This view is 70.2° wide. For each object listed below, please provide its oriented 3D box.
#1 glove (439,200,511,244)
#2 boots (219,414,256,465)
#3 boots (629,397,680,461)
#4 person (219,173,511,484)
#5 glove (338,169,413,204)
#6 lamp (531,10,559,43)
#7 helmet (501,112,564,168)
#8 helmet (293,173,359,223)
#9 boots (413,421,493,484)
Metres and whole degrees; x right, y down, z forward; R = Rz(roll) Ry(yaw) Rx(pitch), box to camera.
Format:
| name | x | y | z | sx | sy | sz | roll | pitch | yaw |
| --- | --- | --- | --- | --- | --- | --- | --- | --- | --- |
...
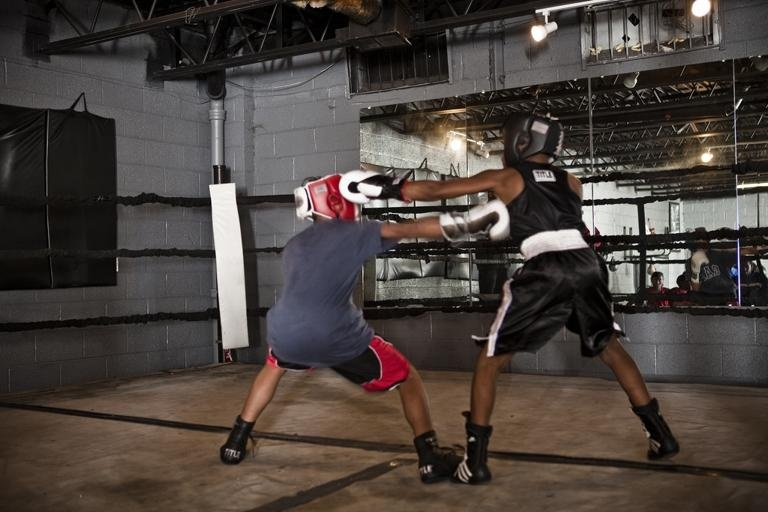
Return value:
| name | x | y | z | sx | sy | sz | roll | pitch | yaw |
| --- | --- | --- | --- | --- | --- | --- | --- | --- | --- |
| glove | 0.425 | -0.134 | 2.352 | 0.209 | 0.077 | 0.229 | 37 | -6 | 7 |
| boots | -0.779 | 0.956 | 2.872 | 0.117 | 0.183 | 0.302 | 20 | 6 | -7 |
| boots | 1.422 | 0.874 | 2.894 | 0.151 | 0.284 | 0.305 | -29 | -2 | 4 |
| person | -0.117 | 0.365 | 2.863 | 1.586 | 1.375 | 0.790 | 1 | 0 | 12 |
| glove | -0.048 | -0.315 | 2.600 | 0.231 | 0.155 | 0.417 | -3 | -3 | -41 |
| lamp | 1.351 | -1.932 | 4.532 | 0.122 | 0.199 | 0.280 | 23 | -22 | 11 |
| helmet | 0.722 | -0.597 | 2.832 | 0.256 | 0.264 | 0.310 | -1 | 10 | -44 |
| helmet | -0.280 | -0.267 | 2.601 | 0.222 | 0.272 | 0.127 | -1 | -11 | -12 |
| boots | 0.310 | 0.964 | 2.793 | 0.197 | 0.328 | 0.511 | 1 | -3 | -23 |
